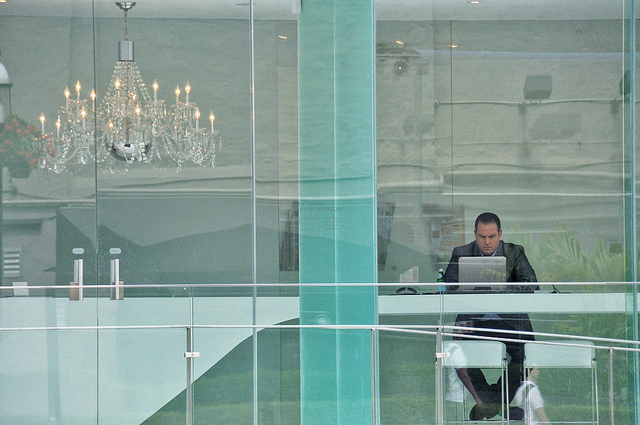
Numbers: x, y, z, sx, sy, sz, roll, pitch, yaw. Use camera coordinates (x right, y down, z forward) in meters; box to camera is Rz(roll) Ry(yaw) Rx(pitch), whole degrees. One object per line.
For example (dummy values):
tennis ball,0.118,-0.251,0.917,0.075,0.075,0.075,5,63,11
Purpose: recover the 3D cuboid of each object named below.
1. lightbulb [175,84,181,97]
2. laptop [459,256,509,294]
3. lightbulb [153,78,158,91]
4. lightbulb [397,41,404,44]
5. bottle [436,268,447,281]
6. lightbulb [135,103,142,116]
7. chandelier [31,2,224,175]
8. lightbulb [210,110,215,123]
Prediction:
lightbulb,-1.438,-1.245,15.721,0.057,0.112,0.065,-2,-3,-7
laptop,1.501,0.579,15.102,0.530,0.313,0.369,0,1,26
lightbulb,-1.652,-1.314,15.662,0.057,0.132,0.198,-2,-3,-6
lightbulb,0.795,-1.741,15.781,0.062,0.028,0.013,-1,-3,-12
bottle,1.218,0.598,15.744,0.126,0.190,0.115,-1,-3,0
lightbulb,-1.842,-1.056,15.785,0.060,0.113,0.050,-5,-4,36
chandelier,-1.984,-1.219,16.631,2.032,1.471,1.858,-1,-7,-2
lightbulb,-1.102,-0.992,15.733,0.046,0.127,0.052,-3,-3,12
